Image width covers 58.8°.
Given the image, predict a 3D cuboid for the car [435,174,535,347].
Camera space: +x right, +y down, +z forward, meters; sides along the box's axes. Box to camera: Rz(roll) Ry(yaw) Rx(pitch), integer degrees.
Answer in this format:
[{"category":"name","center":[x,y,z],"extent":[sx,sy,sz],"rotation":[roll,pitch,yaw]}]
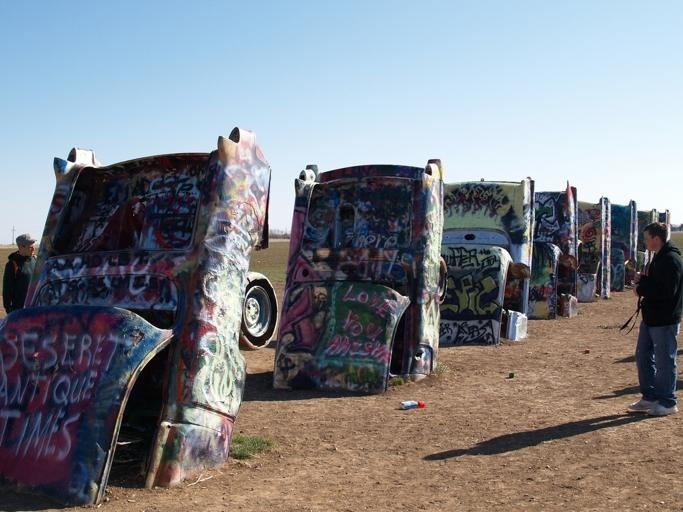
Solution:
[{"category":"car","center":[4.011,0.030,16.670],"extent":[2.361,4.470,3.214],"rotation":[0,1,16]}]

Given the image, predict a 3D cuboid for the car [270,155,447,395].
[{"category":"car","center":[0.391,0.244,11.383],"extent":[2.929,4.186,1.833],"rotation":[0,1,6]}]

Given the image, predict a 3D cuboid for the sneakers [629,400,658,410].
[{"category":"sneakers","center":[4.374,2.173,8.738],"extent":[0.353,0.180,0.146],"rotation":[-1,6,5]}]

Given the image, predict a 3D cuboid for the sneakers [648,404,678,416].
[{"category":"sneakers","center":[4.562,2.138,8.552],"extent":[0.439,0.216,0.172],"rotation":[0,-1,-3]}]
